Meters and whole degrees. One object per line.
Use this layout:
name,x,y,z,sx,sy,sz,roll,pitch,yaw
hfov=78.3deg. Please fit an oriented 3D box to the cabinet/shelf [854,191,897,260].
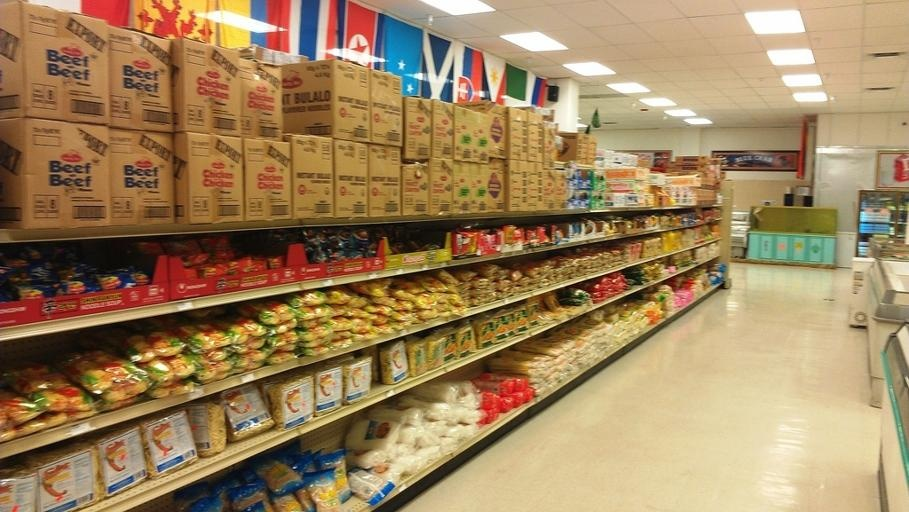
cabinet/shelf,9.942,-0.797,13.135,0.739,1.534,0.416,1,12,22
